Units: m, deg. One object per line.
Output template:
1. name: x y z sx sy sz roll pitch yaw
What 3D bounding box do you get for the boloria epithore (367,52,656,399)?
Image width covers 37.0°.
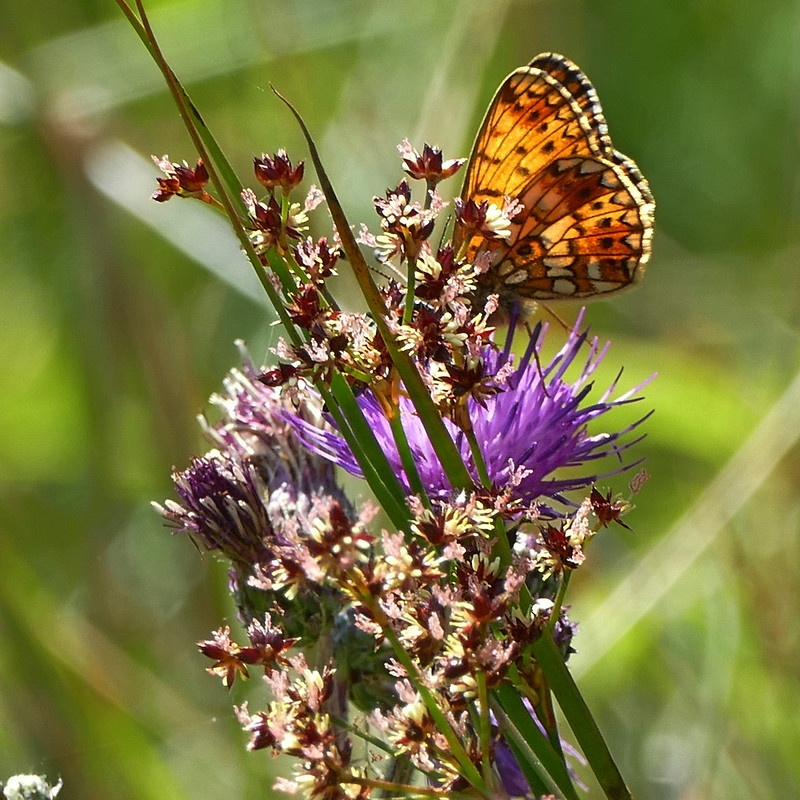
1. boloria epithore: 0.167 -0.230 1.686 0.286 0.278 0.360 20 -21 -31
